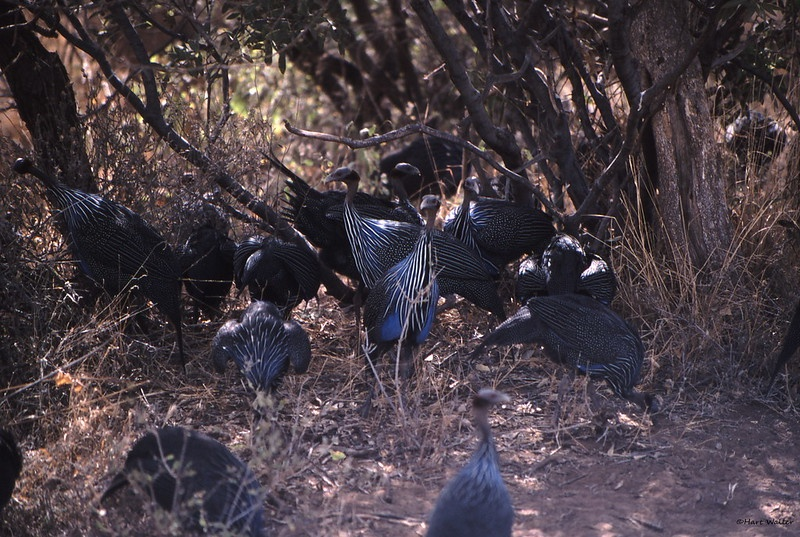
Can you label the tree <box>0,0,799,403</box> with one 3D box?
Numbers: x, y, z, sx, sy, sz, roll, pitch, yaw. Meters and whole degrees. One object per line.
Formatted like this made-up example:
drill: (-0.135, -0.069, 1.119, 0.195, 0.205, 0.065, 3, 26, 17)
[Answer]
tree: (-0.630, -1.206, 8.208, 6.383, 2.554, 3.147, 9, 41, 24)
